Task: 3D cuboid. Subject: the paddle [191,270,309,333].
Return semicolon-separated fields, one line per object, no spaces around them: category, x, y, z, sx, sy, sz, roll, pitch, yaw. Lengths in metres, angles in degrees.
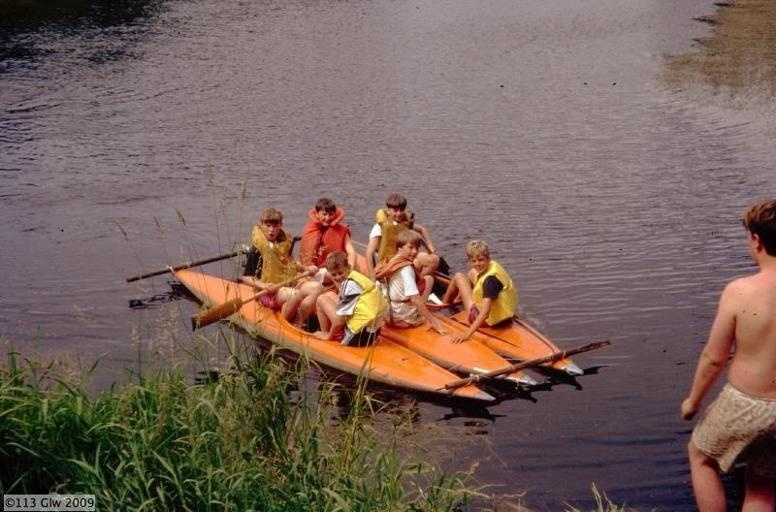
paddle;-2.054;0.733;15.519;2.870;0.347;0.246;-14;53;-29

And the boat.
boat;-0.701;0.829;15.023;6.826;0.676;1.954;9;27;18

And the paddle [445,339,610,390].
paddle;2.021;1.634;14.819;2.481;0.203;0.110;-13;33;-10

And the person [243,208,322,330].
person;-1.599;0.254;15.864;1.258;1.723;1.362;-16;28;-34
